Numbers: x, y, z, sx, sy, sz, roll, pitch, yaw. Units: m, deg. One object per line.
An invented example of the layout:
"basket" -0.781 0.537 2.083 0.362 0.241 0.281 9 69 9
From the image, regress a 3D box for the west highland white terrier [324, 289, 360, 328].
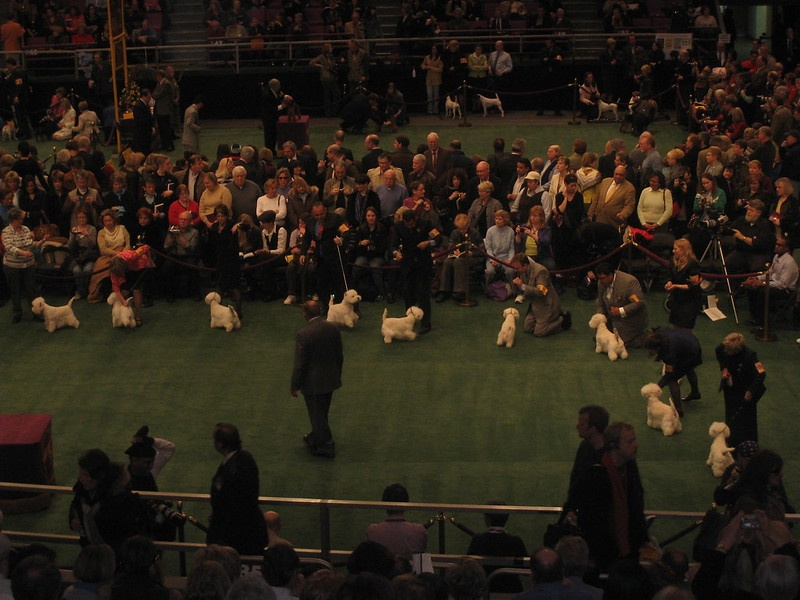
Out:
"west highland white terrier" -0.884 0.154 14.948 0.635 0.562 0.402 -3 5 35

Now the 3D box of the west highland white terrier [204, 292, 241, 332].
"west highland white terrier" -2.836 0.177 15.182 0.722 0.534 0.373 20 27 39

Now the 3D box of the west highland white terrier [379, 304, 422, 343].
"west highland white terrier" 0.011 0.364 14.483 0.694 0.504 0.303 -6 20 -16

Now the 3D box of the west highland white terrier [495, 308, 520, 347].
"west highland white terrier" 1.662 0.367 14.357 0.297 0.632 0.375 8 -22 10

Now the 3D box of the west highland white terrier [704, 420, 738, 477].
"west highland white terrier" 3.717 1.741 11.102 0.336 0.642 0.216 5 10 33

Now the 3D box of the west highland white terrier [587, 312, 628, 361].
"west highland white terrier" 3.057 0.528 14.033 0.318 0.537 0.806 -15 22 -10

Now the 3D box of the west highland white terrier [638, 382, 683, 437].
"west highland white terrier" 3.330 1.372 12.078 0.476 0.636 0.445 2 8 15

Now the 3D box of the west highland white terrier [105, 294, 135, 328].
"west highland white terrier" -4.461 0.189 15.183 0.300 0.315 0.678 -6 22 -23
